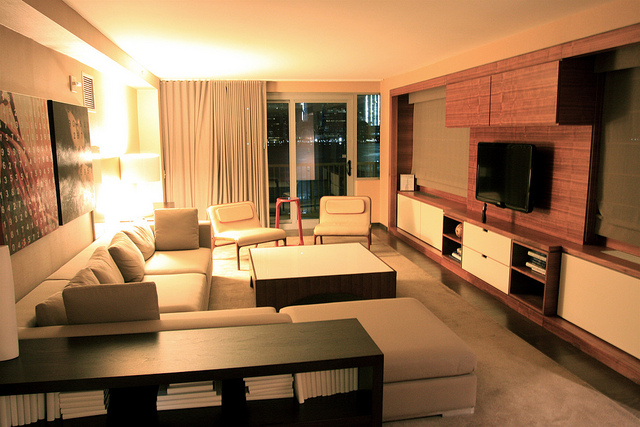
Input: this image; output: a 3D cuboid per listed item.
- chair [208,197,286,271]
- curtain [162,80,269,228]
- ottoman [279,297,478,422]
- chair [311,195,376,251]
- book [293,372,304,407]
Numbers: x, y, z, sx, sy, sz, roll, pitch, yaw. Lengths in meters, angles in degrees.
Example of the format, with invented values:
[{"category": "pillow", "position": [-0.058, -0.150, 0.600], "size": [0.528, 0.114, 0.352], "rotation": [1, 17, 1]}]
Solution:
[{"category": "chair", "position": [-1.143, 0.258, 7.025], "size": [0.999, 0.742, 1.010], "rotation": [-8, 15, -31]}, {"category": "curtain", "position": [-1.918, -1.069, 8.436], "size": [1.894, 2.733, 0.477], "rotation": [-2, 14, -1]}, {"category": "ottoman", "position": [0.665, 1.142, 3.670], "size": [1.051, 0.435, 1.122], "rotation": [-2, 8, -7]}, {"category": "chair", "position": [0.401, 0.190, 7.535], "size": [1.006, 0.852, 0.718], "rotation": [-1, 14, 5]}, {"category": "book", "position": [-0.150, 1.195, 3.105], "size": [0.055, 0.211, 0.113], "rotation": [-11, 16, -33]}]
